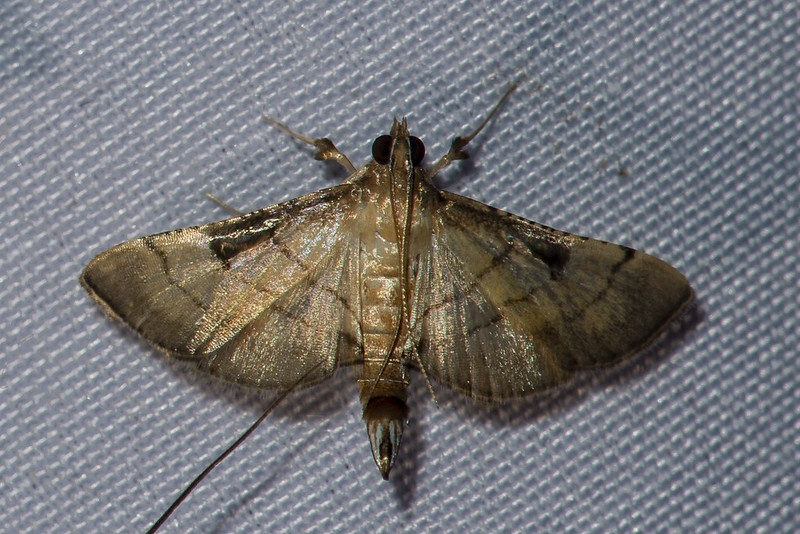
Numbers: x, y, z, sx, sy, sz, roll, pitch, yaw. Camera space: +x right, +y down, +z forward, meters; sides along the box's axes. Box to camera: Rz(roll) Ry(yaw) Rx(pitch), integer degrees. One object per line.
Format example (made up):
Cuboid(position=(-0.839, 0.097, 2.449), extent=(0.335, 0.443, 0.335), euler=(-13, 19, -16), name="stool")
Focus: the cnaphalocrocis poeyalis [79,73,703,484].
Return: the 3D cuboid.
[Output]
Cuboid(position=(-0.050, 0.128, 5.733), extent=(2.540, 1.611, 0.418), euler=(7, -18, 0), name="cnaphalocrocis poeyalis")
